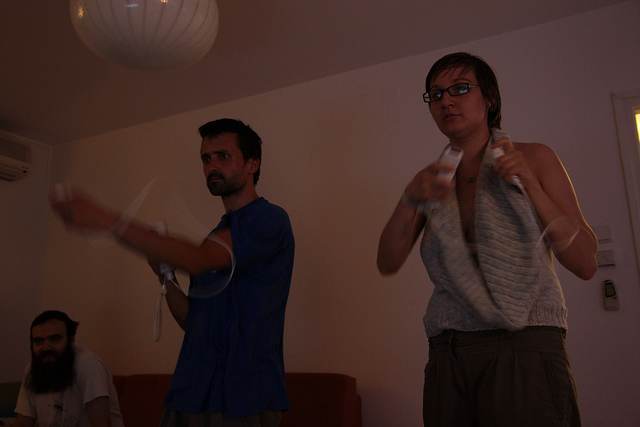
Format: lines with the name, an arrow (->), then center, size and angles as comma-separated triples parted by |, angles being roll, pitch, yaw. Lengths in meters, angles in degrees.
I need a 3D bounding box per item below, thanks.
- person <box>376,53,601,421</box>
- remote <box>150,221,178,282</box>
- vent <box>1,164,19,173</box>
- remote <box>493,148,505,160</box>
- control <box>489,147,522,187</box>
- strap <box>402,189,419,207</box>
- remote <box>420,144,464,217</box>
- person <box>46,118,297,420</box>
person -> 0.699, 0.064, 2.388 | 0.879, 1.534, 0.375 | -4, -18, 7
remote -> -0.698, 0.167, 2.559 | 0.075, 0.381, 0.088 | -11, 3, -15
vent -> -2.605, -0.377, 4.729 | 0.033, 0.047, 0.154 | -11, -23, 25
remote -> 0.717, -0.242, 2.292 | 0.026, 0.036, 0.036 | 11, -39, -18
control -> 0.744, -0.191, 2.289 | 0.118, 0.154, 0.042 | 6, -20, -21
strap -> 0.379, -0.063, 2.424 | 0.053, 0.060, 0.057 | -1, 4, 17
remote -> 0.512, -0.143, 2.410 | 0.142, 0.309, 0.059 | 24, 1, 21
person -> -0.885, 0.355, 3.453 | 1.200, 2.347, 0.940 | 16, -35, -26
